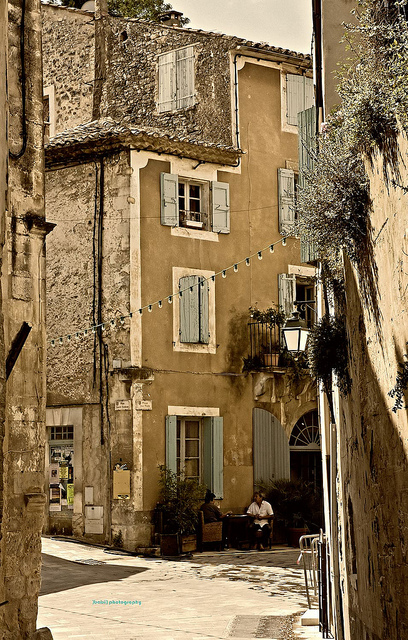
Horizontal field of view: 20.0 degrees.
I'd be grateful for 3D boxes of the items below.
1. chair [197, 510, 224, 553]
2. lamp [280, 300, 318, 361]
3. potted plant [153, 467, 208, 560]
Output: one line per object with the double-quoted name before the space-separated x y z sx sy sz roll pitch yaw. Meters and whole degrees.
"chair" 0.084 3.353 18.542 0.372 0.920 0.495 0 -3 -8
"lamp" 0.948 0.082 11.610 0.239 0.651 0.183 -9 -18 36
"potted plant" -0.303 2.966 18.427 0.394 1.310 0.609 3 -2 -27
